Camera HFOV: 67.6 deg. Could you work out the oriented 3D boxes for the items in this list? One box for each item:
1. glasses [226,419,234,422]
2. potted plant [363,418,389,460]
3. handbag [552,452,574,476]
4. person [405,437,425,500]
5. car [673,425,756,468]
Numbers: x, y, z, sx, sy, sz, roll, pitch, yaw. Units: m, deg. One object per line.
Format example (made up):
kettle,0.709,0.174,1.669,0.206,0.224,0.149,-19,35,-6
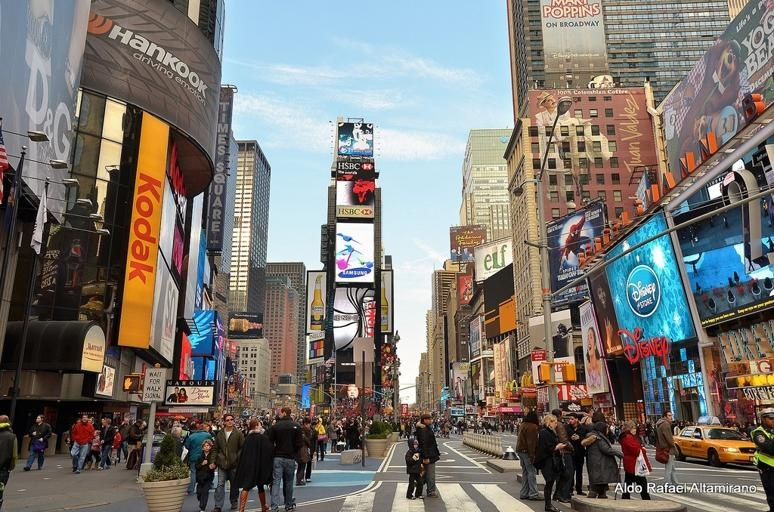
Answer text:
glasses,-5.659,5.818,20.607,0.231,0.083,0.250,0,5,-11
potted plant,-0.665,12.658,39.834,1.841,1.862,2.661,4,-19,-8
handbag,6.261,7.464,20.792,0.956,0.971,0.552,17,-20,-37
person,1.045,8.236,22.506,0.685,2.225,1.488,-2,-17,1
car,18.454,10.577,32.421,1.753,2.151,4.579,2,-18,-13
